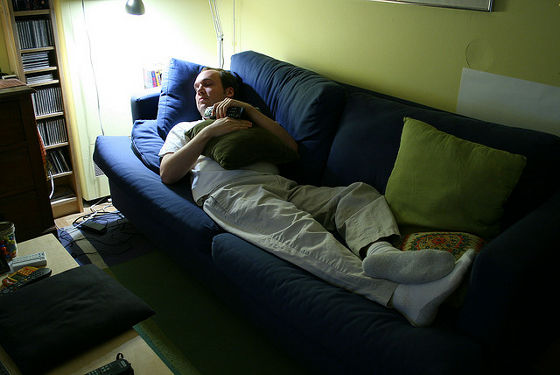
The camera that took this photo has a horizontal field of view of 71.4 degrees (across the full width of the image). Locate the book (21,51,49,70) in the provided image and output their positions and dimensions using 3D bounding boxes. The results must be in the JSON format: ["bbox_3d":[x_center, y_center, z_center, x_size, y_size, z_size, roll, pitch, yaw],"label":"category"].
[{"bbox_3d":[-1.696,-0.888,2.724,0.096,0.105,0.195,24,34,36],"label":"book"}]

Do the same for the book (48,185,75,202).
[{"bbox_3d":[-1.704,0.033,3.059,0.132,0.030,0.122,-13,25,-35],"label":"book"}]

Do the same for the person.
[{"bbox_3d":[0.042,-0.091,2.227,0.900,1.003,1.961,-11,20,-39],"label":"person"}]

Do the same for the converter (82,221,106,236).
[{"bbox_3d":[-1.335,0.273,2.796,0.163,0.038,0.089,18,33,21],"label":"converter"}]

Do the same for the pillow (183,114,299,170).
[{"bbox_3d":[-0.196,-0.233,2.307,0.389,0.116,0.366,-17,39,-36],"label":"pillow"}]

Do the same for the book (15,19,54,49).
[{"bbox_3d":[-1.672,-1.049,2.667,0.209,0.177,0.055,-14,31,-30],"label":"book"}]

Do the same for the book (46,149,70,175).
[{"bbox_3d":[-1.696,-0.201,2.982,0.043,0.172,0.188,-13,4,40],"label":"book"}]

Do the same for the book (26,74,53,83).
[{"bbox_3d":[-1.696,-0.767,2.757,0.177,0.049,0.061,-18,33,-35],"label":"book"}]

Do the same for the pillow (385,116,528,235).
[{"bbox_3d":[0.854,-0.041,1.872,0.217,0.379,0.441,-23,41,-39],"label":"pillow"}]

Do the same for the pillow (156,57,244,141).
[{"bbox_3d":[-0.603,-0.625,2.938,0.494,0.494,0.199,14,-5,45],"label":"pillow"}]

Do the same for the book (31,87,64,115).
[{"bbox_3d":[-1.668,-0.628,2.813,0.163,0.073,0.216,-23,18,-33],"label":"book"}]
